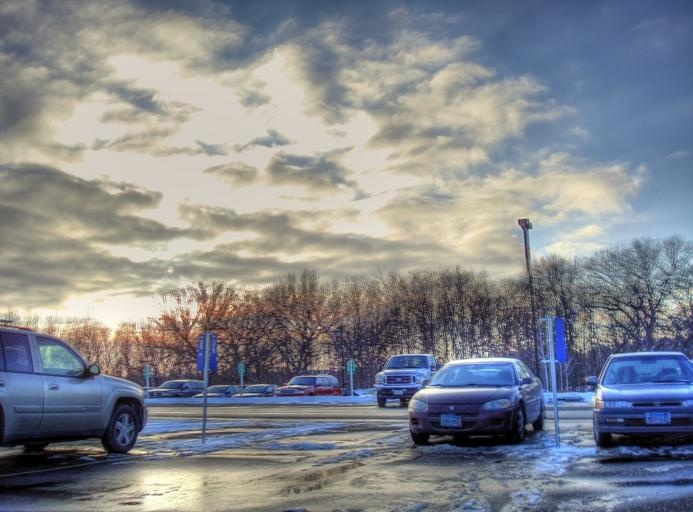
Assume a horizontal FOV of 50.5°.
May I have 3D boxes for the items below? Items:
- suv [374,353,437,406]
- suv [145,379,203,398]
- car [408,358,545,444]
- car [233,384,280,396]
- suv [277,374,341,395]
[{"bbox_3d":[2.463,5.225,32.111,2.175,1.623,3.534,-6,-16,12],"label":"suv"},{"bbox_3d":[-13.031,10.227,56.491,1.732,1.193,3.652,-9,-16,40],"label":"suv"},{"bbox_3d":[3.064,3.290,16.990,2.166,1.978,3.394,-9,-14,35],"label":"car"},{"bbox_3d":[-6.197,9.282,50.659,2.277,0.988,7.840,1,-12,-8],"label":"car"},{"bbox_3d":[-2.216,7.828,44.540,2.383,1.280,4.569,-7,-13,27],"label":"suv"}]
